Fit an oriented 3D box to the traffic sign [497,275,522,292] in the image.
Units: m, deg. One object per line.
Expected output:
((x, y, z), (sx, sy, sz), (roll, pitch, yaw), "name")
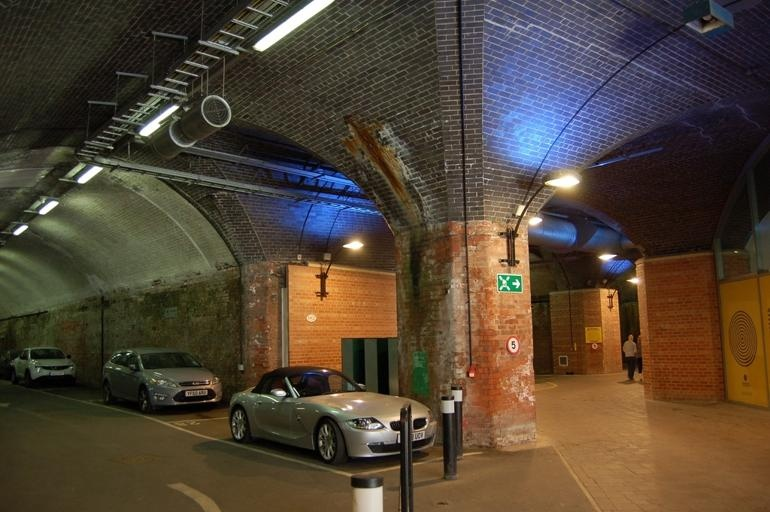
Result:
((2.914, 0.629, 12.943), (0.764, 0.463, 0.034), (6, -13, -28), "traffic sign")

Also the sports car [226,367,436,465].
((-1.431, 3.457, 13.142), (5.381, 1.441, 2.756), (-6, -6, 41), "sports car")

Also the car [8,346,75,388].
((-16.358, 5.233, 26.629), (3.348, 1.756, 1.644), (-8, -14, 36), "car")

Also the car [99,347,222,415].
((-7.768, 4.058, 19.001), (5.456, 1.483, 2.525), (-6, -5, 43), "car")

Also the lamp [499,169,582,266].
((3.552, -0.774, 12.640), (1.991, 1.886, 0.949), (-11, -12, 43), "lamp")

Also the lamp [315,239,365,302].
((-1.576, 0.526, 18.766), (1.278, 2.231, 1.141), (-5, -1, 21), "lamp")
